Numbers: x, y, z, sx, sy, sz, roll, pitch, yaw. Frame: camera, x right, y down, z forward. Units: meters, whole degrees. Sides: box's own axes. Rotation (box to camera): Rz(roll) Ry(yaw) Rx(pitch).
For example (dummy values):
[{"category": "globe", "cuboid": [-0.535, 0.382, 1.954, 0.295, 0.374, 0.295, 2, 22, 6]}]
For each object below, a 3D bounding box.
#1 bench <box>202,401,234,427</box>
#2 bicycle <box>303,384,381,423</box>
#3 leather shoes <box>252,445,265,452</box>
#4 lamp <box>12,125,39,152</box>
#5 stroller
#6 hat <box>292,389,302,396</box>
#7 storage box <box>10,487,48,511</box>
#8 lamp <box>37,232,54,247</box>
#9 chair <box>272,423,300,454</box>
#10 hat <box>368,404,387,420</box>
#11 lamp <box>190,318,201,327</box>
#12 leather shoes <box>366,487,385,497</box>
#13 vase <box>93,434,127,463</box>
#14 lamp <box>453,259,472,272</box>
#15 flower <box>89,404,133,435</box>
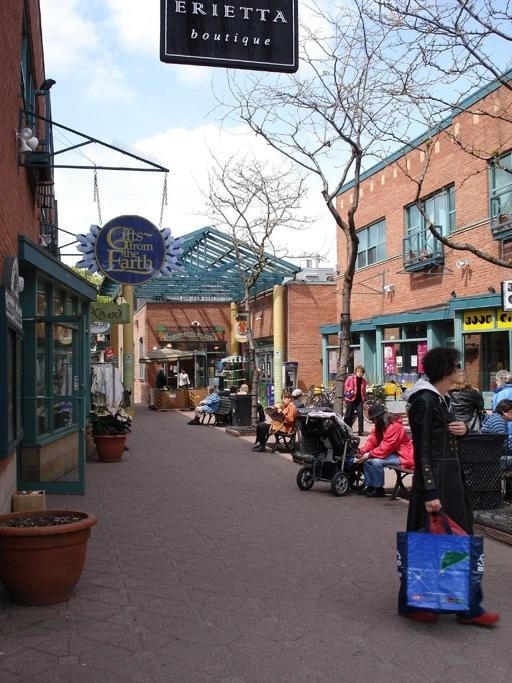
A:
[{"category": "bench", "cuboid": [-1.313, 2.497, 22.419, 0.464, 0.726, 1.097, 3, -3, -27]}, {"category": "bicycle", "cuboid": [2.843, 2.237, 21.533, 2.379, 1.437, 1.583, 1, -2, 10]}, {"category": "leather shoes", "cuboid": [0.048, 2.453, 14.781, 0.298, 0.126, 0.108, 7, -7, -32]}, {"category": "lamp", "cuboid": [-2.870, -2.472, 7.976, 0.349, 0.343, 0.227, -6, 7, -38]}, {"category": "stroller", "cuboid": [1.135, 1.635, 9.624, 0.834, 1.099, 1.153, -4, -10, 40]}, {"category": "hat", "cuboid": [0.872, 1.064, 13.548, 0.135, 0.103, 0.201, -3, 27, 29]}, {"category": "storage box", "cuboid": [-2.202, 1.557, 6.229, 0.295, 0.197, 0.526, 3, -5, -21]}, {"category": "lamp", "cuboid": [-4.819, -2.266, 14.781, 0.359, 0.442, 0.464, -1, -12, -14]}, {"category": "chair", "cuboid": [0.654, 2.187, 14.749, 0.740, 0.923, 0.731, 0, -12, 6]}, {"category": "hat", "cuboid": [1.698, 1.017, 9.092, 0.233, 0.241, 0.378, 0, -5, 10]}, {"category": "lamp", "cuboid": [-3.927, -1.099, 41.398, 0.643, 0.486, 0.429, 2, -5, -8]}, {"category": "leather shoes", "cuboid": [1.666, 2.110, 9.095, 0.271, 0.186, 0.103, 5, -6, 5]}, {"category": "vase", "cuboid": [-2.943, 2.154, 13.028, 0.561, 0.397, 0.550, 2, -4, -23]}, {"category": "lamp", "cuboid": [5.911, -2.150, 18.585, 0.219, 0.404, 0.829, 1, -5, -4]}, {"category": "flower", "cuboid": [-2.990, 1.622, 13.186, 0.801, 0.582, 0.550, 2, -5, -14]}]
